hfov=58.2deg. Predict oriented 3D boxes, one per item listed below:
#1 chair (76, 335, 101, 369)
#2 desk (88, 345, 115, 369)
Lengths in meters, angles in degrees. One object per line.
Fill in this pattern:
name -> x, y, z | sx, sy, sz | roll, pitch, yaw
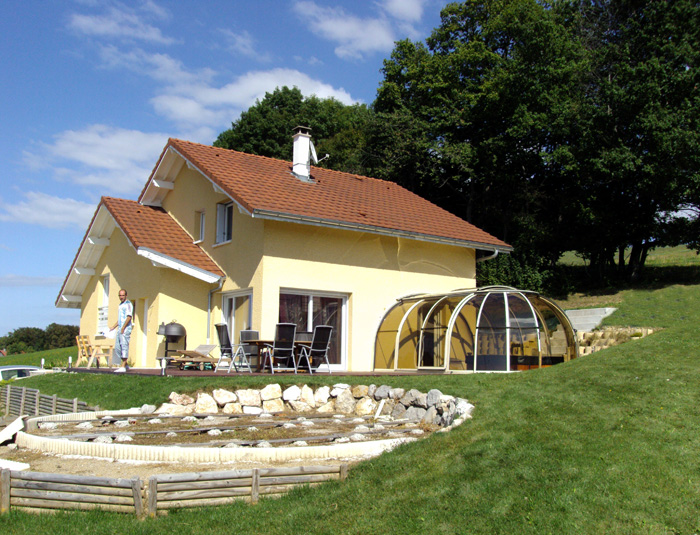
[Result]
chair -> -11.242, 3.649, 27.043 | 1.007, 1.498, 1.056 | -4, -4, -11
desk -> -10.185, 3.608, 25.681 | 0.861, 0.893, 0.721 | 0, -8, 4
